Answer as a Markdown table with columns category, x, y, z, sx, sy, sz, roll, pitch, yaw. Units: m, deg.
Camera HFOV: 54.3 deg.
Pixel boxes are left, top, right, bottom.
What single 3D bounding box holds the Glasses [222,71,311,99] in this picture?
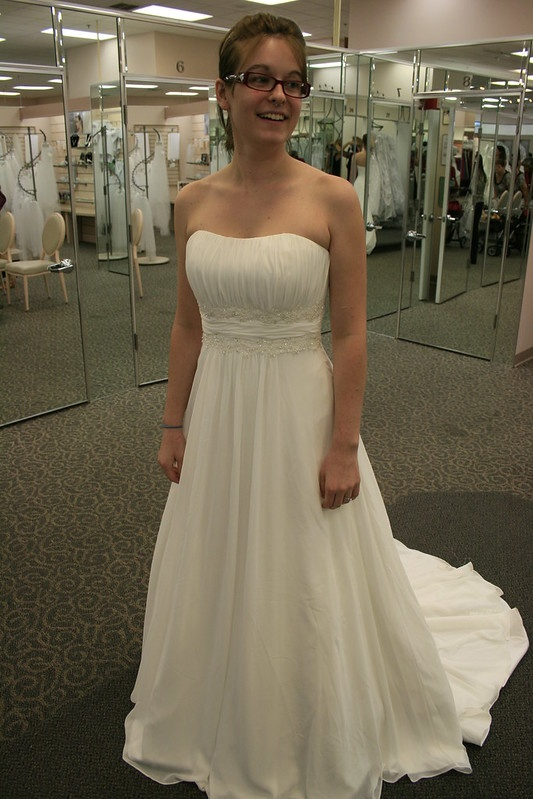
| category | x | y | z | sx | sy | sz | roll | pitch | yaw |
| --- | --- | --- | --- | --- | --- | --- | --- | --- | --- |
| Glasses | -0.005 | -0.518 | 0.857 | 0.124 | 0.049 | 0.070 | -3 | 13 | -1 |
